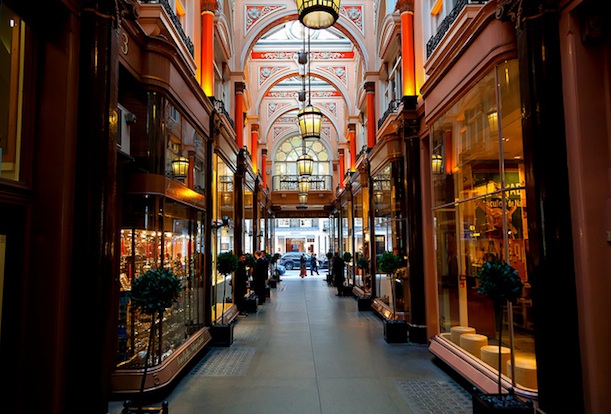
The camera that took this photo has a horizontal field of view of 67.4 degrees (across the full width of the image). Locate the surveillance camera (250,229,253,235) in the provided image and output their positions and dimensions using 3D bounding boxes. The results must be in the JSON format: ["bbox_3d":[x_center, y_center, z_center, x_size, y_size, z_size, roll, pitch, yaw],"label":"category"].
[{"bbox_3d":[-2.153,1.012,18.612,0.145,0.153,0.040,-6,3,-39],"label":"surveillance camera"}]

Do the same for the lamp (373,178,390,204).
[{"bbox_3d":[2.228,-0.487,13.317,0.205,0.709,0.660,4,-9,-12],"label":"lamp"}]

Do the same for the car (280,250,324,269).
[{"bbox_3d":[-0.226,4.073,34.473,3.277,1.258,1.600,-1,-3,-2],"label":"car"}]

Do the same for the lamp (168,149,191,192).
[{"bbox_3d":[-2.350,-0.779,8.685,0.429,0.700,0.378,1,-2,13],"label":"lamp"}]

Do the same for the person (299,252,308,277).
[{"bbox_3d":[-0.091,3.370,27.593,0.282,1.354,0.965,0,0,-2],"label":"person"}]
